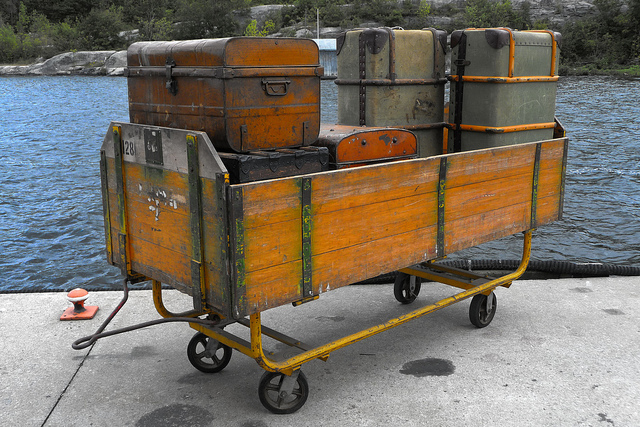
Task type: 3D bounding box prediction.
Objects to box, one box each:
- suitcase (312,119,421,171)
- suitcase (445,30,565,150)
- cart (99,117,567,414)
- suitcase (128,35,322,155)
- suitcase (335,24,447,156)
[{"bbox_3d":[0.427,-0.789,7.174,0.689,0.223,0.895,-10,17,-32],"label":"suitcase"},{"bbox_3d":[2.419,-1.644,8.268,1.681,1.512,0.951,-7,12,-34],"label":"suitcase"},{"bbox_3d":[0.628,0.117,8.462,6.223,2.988,2.881,-12,18,-40],"label":"cart"},{"bbox_3d":[-1.088,-1.370,7.069,1.264,1.035,2.097,-12,18,-41],"label":"suitcase"},{"bbox_3d":[0.993,-1.610,8.749,1.482,1.680,1.057,-10,17,-36],"label":"suitcase"}]
